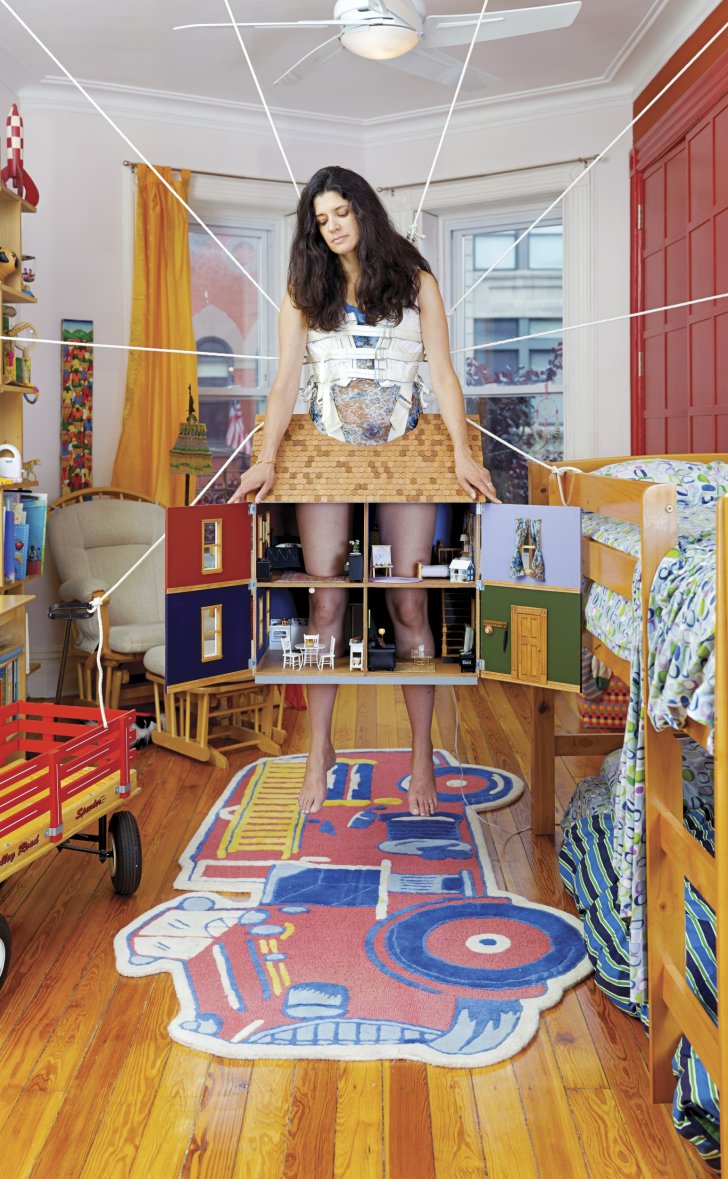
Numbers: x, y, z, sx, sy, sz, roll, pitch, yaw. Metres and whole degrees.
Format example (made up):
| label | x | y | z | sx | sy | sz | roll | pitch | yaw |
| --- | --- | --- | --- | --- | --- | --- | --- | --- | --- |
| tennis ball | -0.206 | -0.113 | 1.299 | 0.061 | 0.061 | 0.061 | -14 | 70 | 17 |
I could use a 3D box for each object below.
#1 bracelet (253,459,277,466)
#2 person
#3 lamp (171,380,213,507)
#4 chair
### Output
| label | x | y | z | sx | sy | sz | roll | pitch | yaw |
| --- | --- | --- | --- | --- | --- | --- | --- | --- | --- |
| bracelet | -0.218 | -0.279 | 1.766 | 0.046 | 0.018 | 0.039 | -2 | 2 | -8 |
| person | 0.012 | -0.175 | 1.870 | 0.560 | 1.515 | 0.404 | -1 | 1 | 4 |
| lamp | -0.813 | -0.670 | 3.755 | 0.165 | 0.514 | 0.080 | -1 | 1 | -9 |
| chair | -1.056 | 0.033 | 3.346 | 0.479 | 0.648 | 0.976 | -2 | 2 | -22 |
